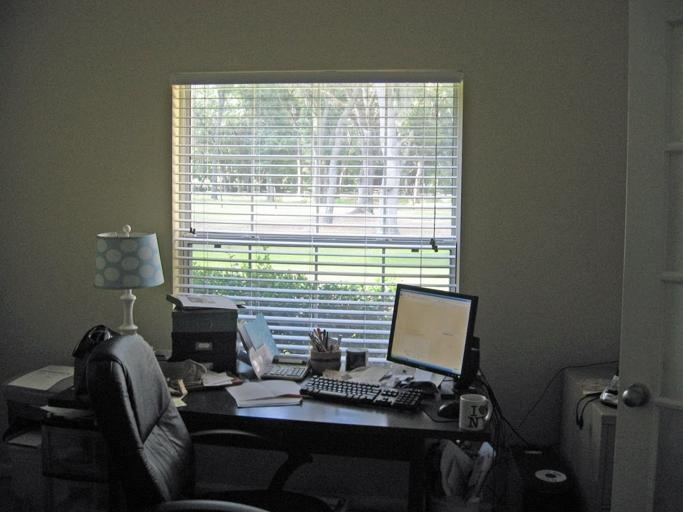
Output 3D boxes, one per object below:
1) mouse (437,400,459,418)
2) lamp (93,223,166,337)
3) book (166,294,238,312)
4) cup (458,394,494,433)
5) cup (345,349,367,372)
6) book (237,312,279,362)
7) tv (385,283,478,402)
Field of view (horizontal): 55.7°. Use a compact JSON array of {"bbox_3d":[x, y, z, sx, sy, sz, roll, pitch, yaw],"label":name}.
[{"bbox_3d":[0.492,0.711,2.992,0.086,0.024,0.059,-2,9,1],"label":"mouse"},{"bbox_3d":[-1.187,0.132,3.561,0.334,0.588,0.429,0,5,-27],"label":"lamp"},{"bbox_3d":[-0.774,0.245,3.511,0.334,0.058,0.406,1,5,-24],"label":"book"},{"bbox_3d":[0.589,0.714,2.891,0.172,0.122,0.107,3,-1,-37],"label":"cup"},{"bbox_3d":[0.070,0.566,3.467,0.110,0.119,0.112,1,-2,0],"label":"cup"},{"bbox_3d":[-0.457,0.428,3.500,0.057,0.234,0.235,-17,8,15],"label":"book"},{"bbox_3d":[0.449,0.457,3.236,0.472,0.468,0.182,14,2,31],"label":"tv"}]
